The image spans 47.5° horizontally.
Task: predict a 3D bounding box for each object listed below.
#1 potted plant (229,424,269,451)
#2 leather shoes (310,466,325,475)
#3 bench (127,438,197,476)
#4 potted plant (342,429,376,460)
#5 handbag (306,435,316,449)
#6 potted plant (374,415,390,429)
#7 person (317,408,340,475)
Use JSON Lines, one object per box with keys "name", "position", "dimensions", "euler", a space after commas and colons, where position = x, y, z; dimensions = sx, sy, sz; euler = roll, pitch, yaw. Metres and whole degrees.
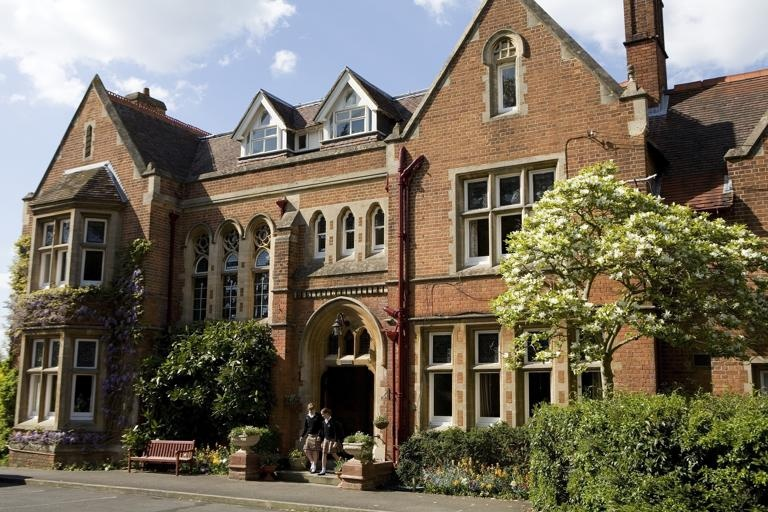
{"name": "potted plant", "position": [-3.948, 5.232, 25.465], "dimensions": [0.808, 0.425, 0.739], "euler": [0, -26, 4]}
{"name": "leather shoes", "position": [-1.875, 6.184, 25.043], "dimensions": [0.520, 0.212, 0.170], "euler": [10, -34, -5]}
{"name": "bench", "position": [-6.717, 6.029, 26.264], "dimensions": [2.025, 0.932, 0.888], "euler": [-6, -13, 32]}
{"name": "potted plant", "position": [-0.723, 5.177, 23.824], "dimensions": [0.739, 0.657, 0.787], "euler": [-6, -11, 37]}
{"name": "handbag", "position": [-2.099, 5.366, 25.122], "dimensions": [0.337, 0.314, 0.101], "euler": [1, -3, 8]}
{"name": "potted plant", "position": [-0.068, 4.752, 24.921], "dimensions": [0.357, 0.189, 0.347], "euler": [3, -6, -7]}
{"name": "person", "position": [-1.577, 5.369, 25.216], "dimensions": [0.519, 1.829, 0.919], "euler": [2, -16, -4]}
